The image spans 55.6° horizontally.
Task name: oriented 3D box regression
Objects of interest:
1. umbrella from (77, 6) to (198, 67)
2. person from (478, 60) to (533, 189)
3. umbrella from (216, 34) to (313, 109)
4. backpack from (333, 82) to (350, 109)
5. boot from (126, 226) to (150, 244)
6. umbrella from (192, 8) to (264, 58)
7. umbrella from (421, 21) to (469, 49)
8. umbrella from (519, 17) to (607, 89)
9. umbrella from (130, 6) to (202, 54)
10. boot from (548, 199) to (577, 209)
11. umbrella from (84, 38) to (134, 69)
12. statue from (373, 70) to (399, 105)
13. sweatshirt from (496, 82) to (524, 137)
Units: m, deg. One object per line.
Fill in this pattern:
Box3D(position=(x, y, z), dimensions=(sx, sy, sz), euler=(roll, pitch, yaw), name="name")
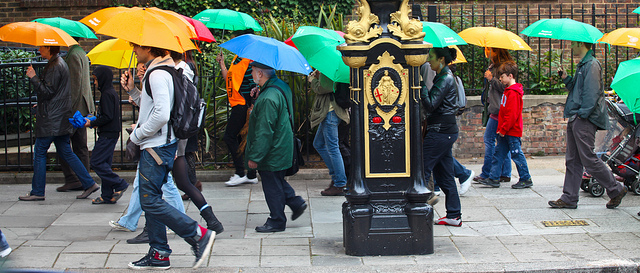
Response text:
Box3D(position=(-3.624, -1.931, 13.134), dimensions=(1.798, 0.517, 1.634), euler=(17, 5, 12), name="umbrella")
Box3D(position=(4.872, -0.311, 16.007), dimensions=(1.252, 3.294, 1.025), euler=(-3, 13, 2), name="person")
Box3D(position=(-1.312, -1.577, 13.768), dimensions=(1.443, 0.755, 1.157), euler=(15, 24, -16), name="umbrella")
Box3D(position=(0.569, -1.005, 15.171), dimensions=(0.461, 0.671, 0.216), euler=(4, 15, 29), name="backpack")
Box3D(position=(-4.039, 2.223, 13.473), dimensions=(0.509, 0.302, 0.292), euler=(-3, 12, -6), name="boot")
Box3D(position=(-2.489, -3.078, 16.700), dimensions=(1.582, 0.773, 1.434), euler=(9, 11, 18), name="umbrella")
Box3D(position=(2.709, -2.272, 13.666), dimensions=(0.870, 0.255, 0.749), euler=(-3, 19, -17), name="umbrella")
Box3D(position=(6.023, -2.236, 15.402), dimensions=(1.956, 1.196, 1.671), euler=(1, 8, 1), name="umbrella")
Box3D(position=(-3.341, -2.392, 13.428), dimensions=(1.052, 0.344, 0.968), euler=(16, 18, 20), name="umbrella")
Box3D(position=(5.856, 1.641, 14.814), dimensions=(0.686, 0.226, 0.220), euler=(5, 3, 10), name="boot")
Box3D(position=(-5.004, -2.033, 14.752), dimensions=(1.068, 0.314, 1.027), euler=(13, -23, -41), name="umbrella")
Box3D(position=(1.399, -1.029, 12.955), dimensions=(0.544, 0.708, 0.132), euler=(-2, 13, 3), name="statue")
Box3D(position=(4.865, -0.665, 15.687), dimensions=(0.627, 1.373, 0.423), euler=(0, 13, 12), name="sweatshirt")
